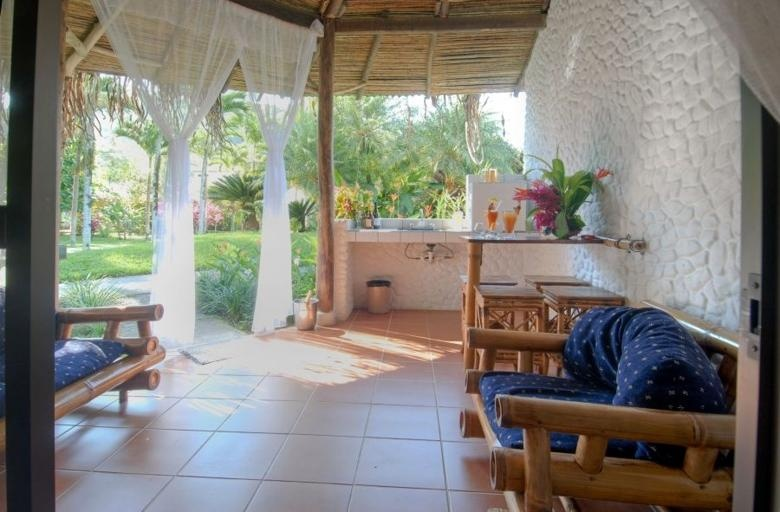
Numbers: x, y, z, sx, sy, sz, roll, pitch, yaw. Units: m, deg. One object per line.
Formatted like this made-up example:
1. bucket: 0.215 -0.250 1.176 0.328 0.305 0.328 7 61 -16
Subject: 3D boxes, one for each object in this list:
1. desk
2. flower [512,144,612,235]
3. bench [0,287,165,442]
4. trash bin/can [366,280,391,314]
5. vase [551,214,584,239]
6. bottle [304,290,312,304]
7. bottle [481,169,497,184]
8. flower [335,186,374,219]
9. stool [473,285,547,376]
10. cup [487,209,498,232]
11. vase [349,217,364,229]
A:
1. desk: 1.120 0.188 4.353 1.186 1.165 1.216 0 1 11
2. flower: 1.565 -0.568 4.341 0.746 0.701 0.814 -18 15 -33
3. bench: -2.129 0.693 3.507 0.809 0.585 1.091 2 7 11
4. trash bin/can: -0.163 0.525 6.530 0.371 0.393 0.363 1 1 0
5. vase: 1.484 -0.256 4.222 0.197 0.165 0.225 3 -11 3
6. bottle: -0.951 0.448 5.849 0.084 0.146 0.451 -1 11 -8
7. bottle: 1.234 -1.000 6.308 0.147 0.258 0.191 -1 -1 8
8. flower: -0.563 -0.716 6.879 0.531 0.552 0.527 -6 7 -36
9. stool: 0.998 0.451 4.326 0.644 0.760 1.050 -1 1 5
10. cup: 0.883 -0.314 4.445 0.080 0.193 0.172 3 11 14
11. vase: -0.456 -0.444 6.726 0.159 0.190 0.165 -2 -4 8
